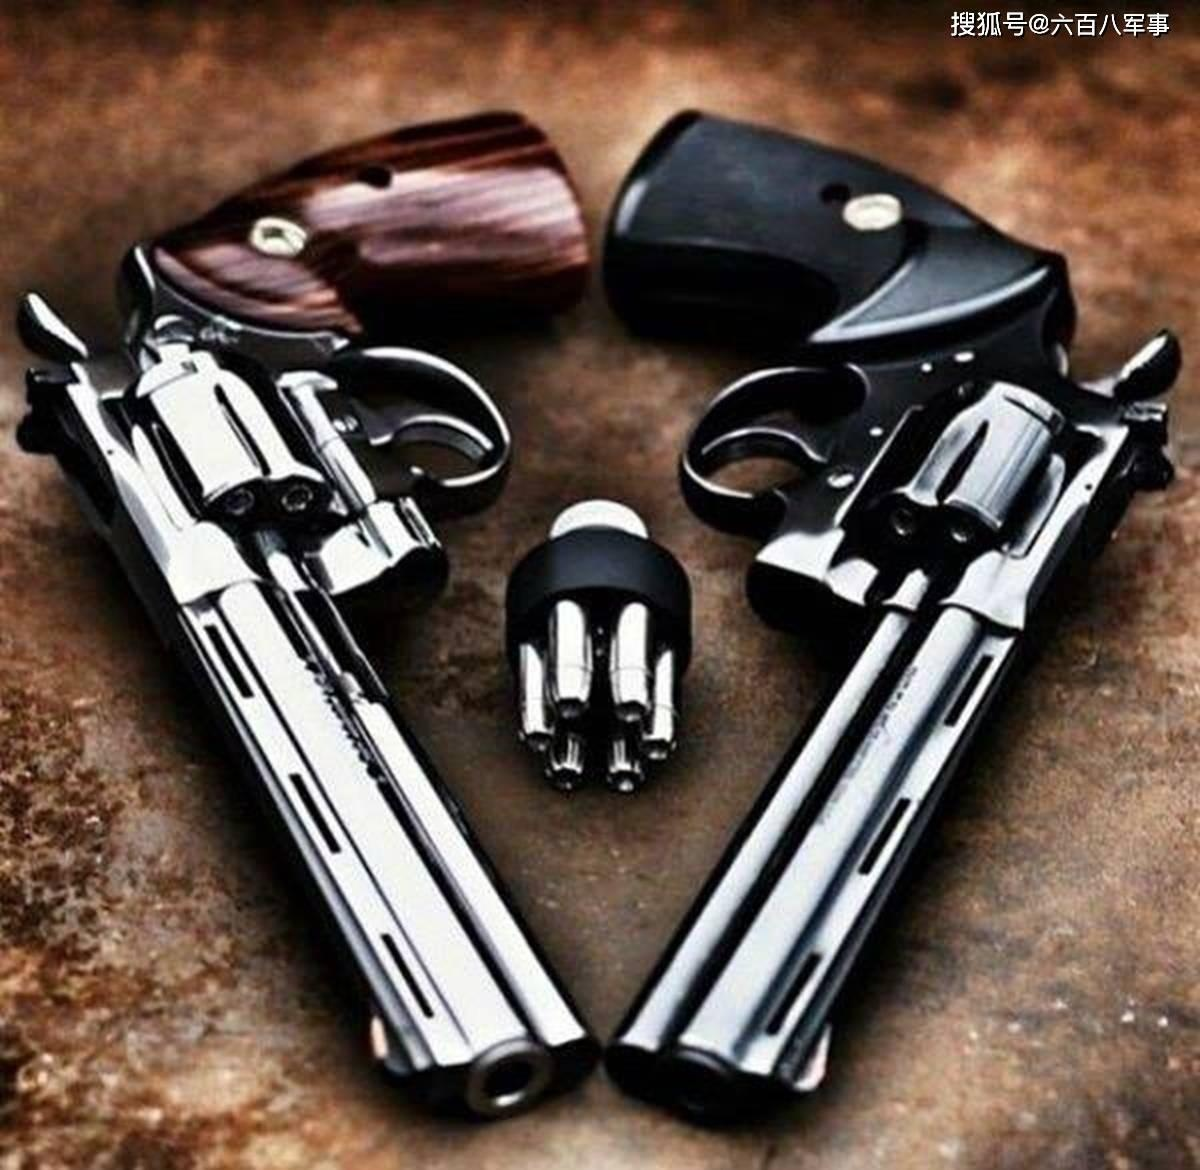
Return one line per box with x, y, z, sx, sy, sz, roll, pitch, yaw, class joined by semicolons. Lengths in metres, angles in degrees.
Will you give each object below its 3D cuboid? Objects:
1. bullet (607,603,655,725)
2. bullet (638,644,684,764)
0.024;0.066;1.464;0.048;0.032;0.102;7;78;-26;bullet
0.062;0.122;1.461;0.045;0.030;0.107;0;42;5;bullet
